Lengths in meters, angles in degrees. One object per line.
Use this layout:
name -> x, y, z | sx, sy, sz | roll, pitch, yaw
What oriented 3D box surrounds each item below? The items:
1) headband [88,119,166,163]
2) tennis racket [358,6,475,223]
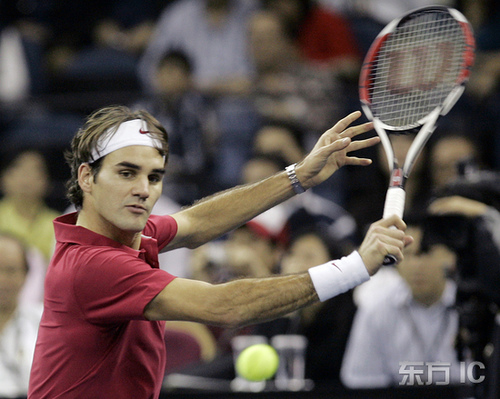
headband -> -0.739, -0.350, 4.259 | 0.436, 0.234, 0.125 | -6, 7, -12
tennis racket -> 1.221, -0.803, 5.377 | 0.652, 0.182, 2.330 | -3, 51, 21
